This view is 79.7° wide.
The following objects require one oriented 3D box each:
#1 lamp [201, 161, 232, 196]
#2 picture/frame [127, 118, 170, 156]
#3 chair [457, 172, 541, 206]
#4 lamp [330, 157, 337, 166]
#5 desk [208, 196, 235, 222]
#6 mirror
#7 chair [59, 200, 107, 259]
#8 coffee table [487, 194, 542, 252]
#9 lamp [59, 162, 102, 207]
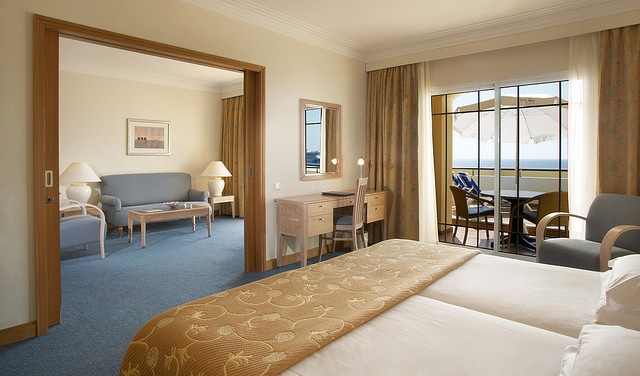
[{"bbox_3d":[-2.304,-0.212,8.589,0.808,0.748,0.779,-1,4,-10],"label":"lamp"},{"bbox_3d":[-3.648,-1.088,8.115,0.061,0.809,0.928,1,1,44],"label":"picture/frame"},{"bbox_3d":[2.710,-0.001,6.078,0.854,0.355,0.493,1,2,42],"label":"chair"},{"bbox_3d":[0.237,-0.443,6.407,0.119,0.100,0.031,1,5,-41],"label":"lamp"},{"bbox_3d":[-2.261,0.429,8.949,0.576,0.539,1.031,-4,5,-12],"label":"desk"},{"bbox_3d":[0.027,-0.767,6.177,0.938,1.261,0.043,-7,7,-41],"label":"mirror"},{"bbox_3d":[-4.017,0.619,6.466,0.616,0.891,1.791,-6,6,-34],"label":"chair"},{"bbox_3d":[3.017,0.467,5.937,0.818,0.789,0.779,-1,0,1],"label":"coffee table"},{"bbox_3d":[-4.218,-0.091,6.798,0.814,0.755,0.787,-2,5,-26],"label":"lamp"}]
